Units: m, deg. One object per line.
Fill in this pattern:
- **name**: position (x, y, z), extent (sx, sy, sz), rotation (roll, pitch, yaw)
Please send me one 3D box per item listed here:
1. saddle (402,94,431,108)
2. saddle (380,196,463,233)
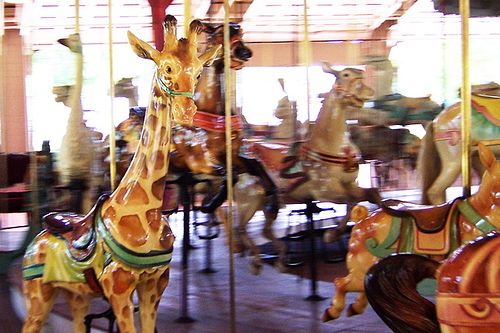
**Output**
- **saddle**: position (2.178, -0.858, 6.962), extent (0.273, 0.082, 0.182), rotation (1, 0, -9)
- **saddle**: position (1.318, 0.344, 4.141), extent (0.698, 0.238, 0.495), rotation (-7, 0, -27)
